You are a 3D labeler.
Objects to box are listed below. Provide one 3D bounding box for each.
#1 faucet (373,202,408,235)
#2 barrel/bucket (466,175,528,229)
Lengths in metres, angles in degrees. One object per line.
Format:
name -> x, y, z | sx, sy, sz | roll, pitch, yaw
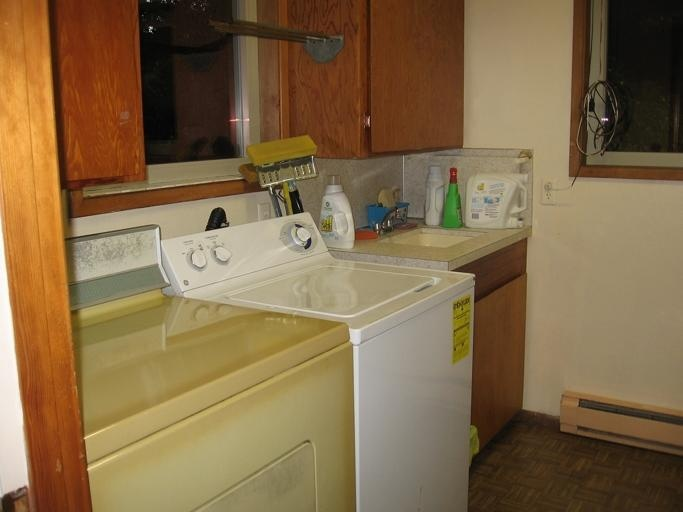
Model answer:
faucet -> 0.272, -0.192, 2.861 | 0.227, 0.103, 0.146 | -10, 3, 33
barrel/bucket -> 0.869, -0.300, 2.920 | 0.259, 0.275, 0.118 | 1, 2, 13
